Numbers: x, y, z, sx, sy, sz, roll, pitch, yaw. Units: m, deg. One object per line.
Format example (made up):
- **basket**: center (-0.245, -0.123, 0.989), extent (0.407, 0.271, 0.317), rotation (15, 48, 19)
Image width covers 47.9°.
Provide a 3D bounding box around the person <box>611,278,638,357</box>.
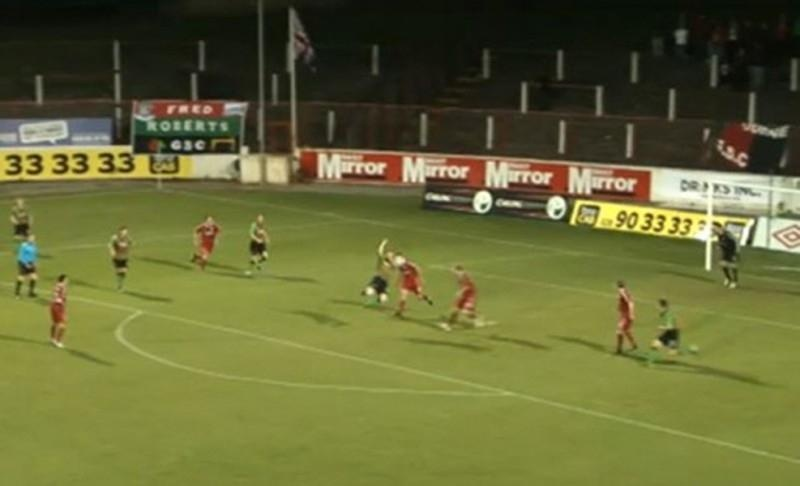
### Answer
- **person**: center (9.162, 3.016, 36.743), extent (1.079, 2.864, 1.257), rotation (1, -1, 9)
